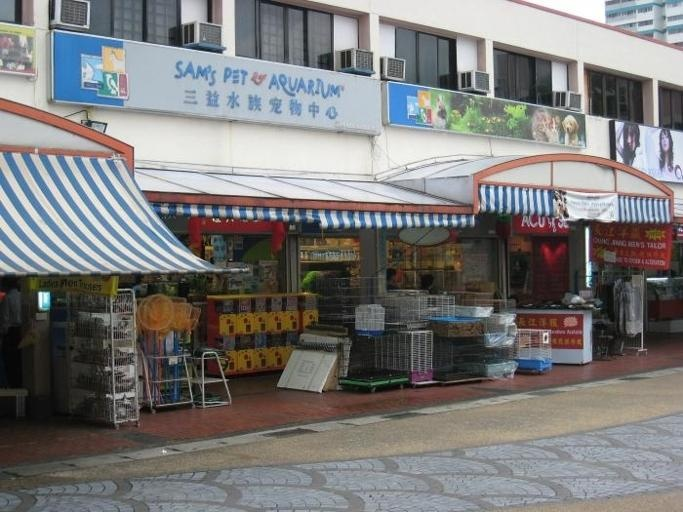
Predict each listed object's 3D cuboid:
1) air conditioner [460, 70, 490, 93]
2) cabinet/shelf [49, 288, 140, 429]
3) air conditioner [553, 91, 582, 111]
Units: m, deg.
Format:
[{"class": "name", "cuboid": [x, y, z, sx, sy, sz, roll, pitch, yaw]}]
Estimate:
[{"class": "air conditioner", "cuboid": [3.047, -3.872, 19.994, 0.827, 0.507, 0.481, 1, -4, -42]}, {"class": "cabinet/shelf", "cuboid": [-3.534, 1.554, 12.699, 0.812, 1.986, 2.090, -4, 4, -34]}, {"class": "air conditioner", "cuboid": [5.692, -3.824, 21.997, 0.485, 0.513, 0.868, -1, -1, 43]}]
